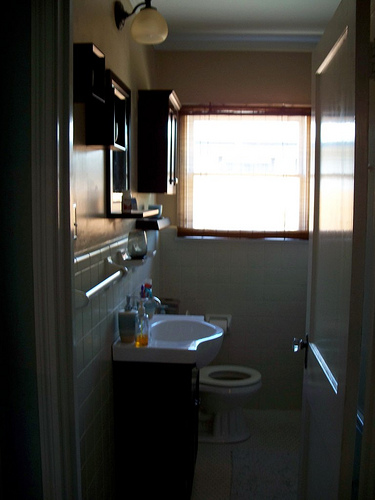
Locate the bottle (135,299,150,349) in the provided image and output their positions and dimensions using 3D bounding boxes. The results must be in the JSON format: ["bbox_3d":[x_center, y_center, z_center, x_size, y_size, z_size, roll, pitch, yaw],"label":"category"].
[{"bbox_3d":[-0.221,0.360,1.977,0.065,0.175,0.211,0,2,-8],"label":"bottle"}]

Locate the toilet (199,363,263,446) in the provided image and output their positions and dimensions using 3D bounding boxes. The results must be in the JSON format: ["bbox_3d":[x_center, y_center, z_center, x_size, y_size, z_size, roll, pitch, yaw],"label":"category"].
[{"bbox_3d":[0.298,1.082,3.001,0.422,0.473,0.691,1,3,2],"label":"toilet"}]

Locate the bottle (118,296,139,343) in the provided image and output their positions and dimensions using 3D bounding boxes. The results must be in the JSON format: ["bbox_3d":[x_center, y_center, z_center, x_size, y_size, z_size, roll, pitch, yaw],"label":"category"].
[{"bbox_3d":[-0.282,0.321,1.936,0.101,0.253,0.135,2,5,12],"label":"bottle"}]

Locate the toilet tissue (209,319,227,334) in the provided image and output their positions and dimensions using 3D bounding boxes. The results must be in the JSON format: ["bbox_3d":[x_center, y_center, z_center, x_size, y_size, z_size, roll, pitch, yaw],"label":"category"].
[{"bbox_3d":[0.239,0.555,3.066,0.109,0.135,0.079,0,2,12],"label":"toilet tissue"}]
